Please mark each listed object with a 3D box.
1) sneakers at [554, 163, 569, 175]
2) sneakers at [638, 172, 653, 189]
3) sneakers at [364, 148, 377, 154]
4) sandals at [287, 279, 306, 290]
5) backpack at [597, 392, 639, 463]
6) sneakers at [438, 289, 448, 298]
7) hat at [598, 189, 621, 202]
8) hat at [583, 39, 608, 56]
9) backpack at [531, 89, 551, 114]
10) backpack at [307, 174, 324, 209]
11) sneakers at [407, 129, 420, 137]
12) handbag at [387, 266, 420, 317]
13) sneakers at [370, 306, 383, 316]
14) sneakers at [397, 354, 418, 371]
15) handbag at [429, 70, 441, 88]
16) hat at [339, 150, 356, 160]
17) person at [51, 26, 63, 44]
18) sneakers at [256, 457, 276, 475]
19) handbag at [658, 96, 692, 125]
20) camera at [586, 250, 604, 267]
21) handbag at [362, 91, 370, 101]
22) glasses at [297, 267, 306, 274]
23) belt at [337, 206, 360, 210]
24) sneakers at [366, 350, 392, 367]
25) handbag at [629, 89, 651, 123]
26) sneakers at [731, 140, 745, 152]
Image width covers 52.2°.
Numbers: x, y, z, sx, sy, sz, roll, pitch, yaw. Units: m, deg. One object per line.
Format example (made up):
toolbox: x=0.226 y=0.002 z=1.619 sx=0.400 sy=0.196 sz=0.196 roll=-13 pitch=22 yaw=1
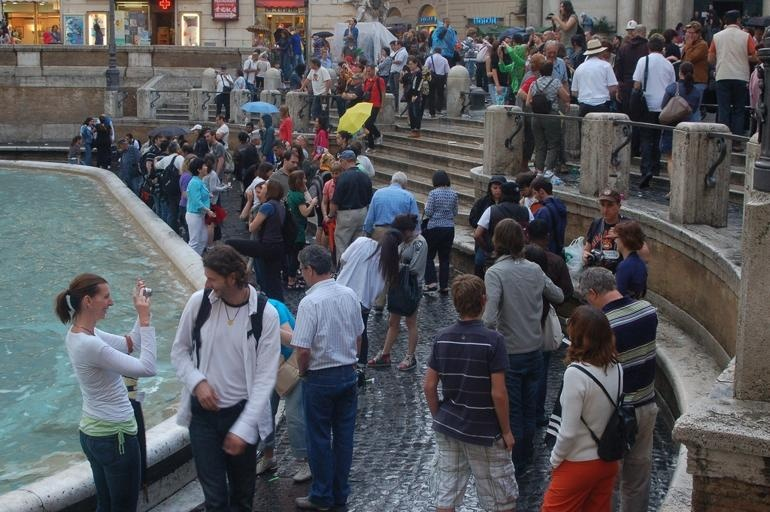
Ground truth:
sneakers: x=3.232 y=-1.618 z=14.435 sx=0.223 sy=0.255 sz=0.152 roll=1 pitch=5 yaw=23
sneakers: x=4.298 y=-1.232 z=12.994 sx=0.132 sy=0.152 sz=0.336 roll=0 pitch=-12 yaw=4
sneakers: x=-0.366 y=-2.953 z=22.022 sx=0.354 sy=0.184 sz=0.146 roll=-7 pitch=17 yaw=-29
sandals: x=-1.589 y=0.488 z=14.137 sx=0.303 sy=0.235 sz=0.164 roll=-4 pitch=27 yaw=-10
backpack: x=1.972 y=1.472 z=6.634 sx=0.401 sy=0.523 sz=0.159 roll=-4 pitch=10 yaw=-34
sneakers: x=1.031 y=0.639 z=13.705 sx=0.135 sy=0.146 sz=0.144 roll=0 pitch=1 yaw=10
hat: x=2.678 y=-0.722 z=9.392 sx=0.250 sy=0.161 sz=0.384 roll=3 pitch=5 yaw=13
hat: x=3.924 y=-3.900 z=14.717 sx=0.413 sy=0.209 sz=0.451 roll=-8 pitch=27 yaw=25
backpack: x=2.824 y=-2.800 z=14.215 sx=0.345 sy=0.419 sz=0.359 roll=13 pitch=25 yaw=37
backpack: x=-1.373 y=-1.330 z=15.633 sx=0.286 sy=0.582 sz=0.978 roll=-1 pitch=9 yaw=-13
sneakers: x=0.805 y=-3.382 z=21.596 sx=0.383 sy=0.302 sz=0.139 roll=4 pitch=11 yaw=-3
handbag: x=0.237 y=0.465 z=10.458 sx=0.443 sy=0.722 sz=0.369 roll=6 pitch=17 yaw=-7
sneakers: x=-0.122 y=0.899 z=12.960 sx=0.154 sy=0.173 sz=0.124 roll=1 pitch=7 yaw=4
sneakers: x=0.319 y=1.472 z=10.836 sx=0.121 sy=0.151 sz=0.330 roll=-1 pitch=-3 yaw=25
handbag: x=1.422 y=-5.056 z=22.483 sx=0.470 sy=0.523 sz=0.361 roll=-2 pitch=14 yaw=-12
hat: x=-0.638 y=-1.738 z=13.492 sx=0.317 sy=0.170 sz=0.467 roll=0 pitch=3 yaw=-4
person: x=-19.436 y=-13.229 z=46.772 sx=0.579 sy=1.126 sz=2.449 roll=-2 pitch=10 yaw=-22
sneakers: x=-1.266 y=2.252 z=8.427 sx=0.275 sy=0.133 sz=0.094 roll=-4 pitch=6 yaw=-39
handbag: x=4.551 y=-2.306 z=12.384 sx=0.454 sy=0.464 sz=0.348 roll=5 pitch=9 yaw=22
camera: x=2.434 y=0.037 z=9.153 sx=0.165 sy=0.190 sz=0.166 roll=12 pitch=11 yaw=42
handbag: x=-0.501 y=-4.387 z=21.431 sx=0.247 sy=0.216 sz=0.386 roll=-5 pitch=41 yaw=4
glasses: x=-1.104 y=0.181 z=10.395 sx=0.169 sy=0.092 sz=0.233 roll=1 pitch=3 yaw=1
belt: x=-0.646 y=-0.813 z=13.432 sx=0.325 sy=0.079 sz=0.055 roll=3 pitch=9 yaw=8
sneakers: x=-0.094 y=1.423 z=10.920 sx=0.305 sy=0.206 sz=0.159 roll=4 pitch=4 yaw=2
handbag: x=4.311 y=-2.576 z=13.374 sx=0.324 sy=0.515 sz=0.196 roll=4 pitch=9 yaw=17
sneakers: x=6.058 y=-1.884 z=13.537 sx=0.195 sy=0.194 sz=0.249 roll=6 pitch=10 yaw=25
